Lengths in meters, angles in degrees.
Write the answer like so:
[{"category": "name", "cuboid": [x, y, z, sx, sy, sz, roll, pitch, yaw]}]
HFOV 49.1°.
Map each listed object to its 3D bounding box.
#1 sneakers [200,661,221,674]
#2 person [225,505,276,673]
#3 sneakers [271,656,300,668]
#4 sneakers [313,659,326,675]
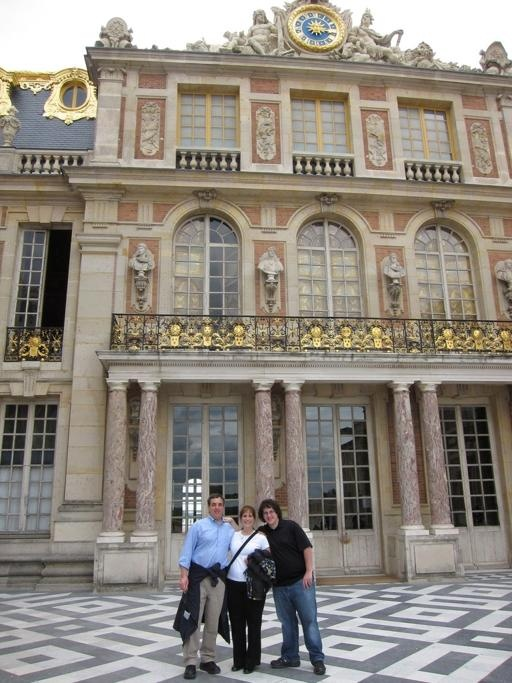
[{"category": "sneakers", "cuboid": [-0.383, 2.705, 4.654, 0.071, 0.073, 0.190, 20, -26, -38]}, {"category": "person", "cuboid": [-0.066, 2.057, 4.666, 0.362, 1.299, 0.607, 1, -19, -8]}, {"category": "sneakers", "cuboid": [0.241, 2.721, 4.727, 0.252, 0.107, 0.082, 7, -15, -5]}, {"category": "sneakers", "cuboid": [0.508, 2.631, 4.522, 0.102, 0.087, 0.142, -3, -18, 4]}]
